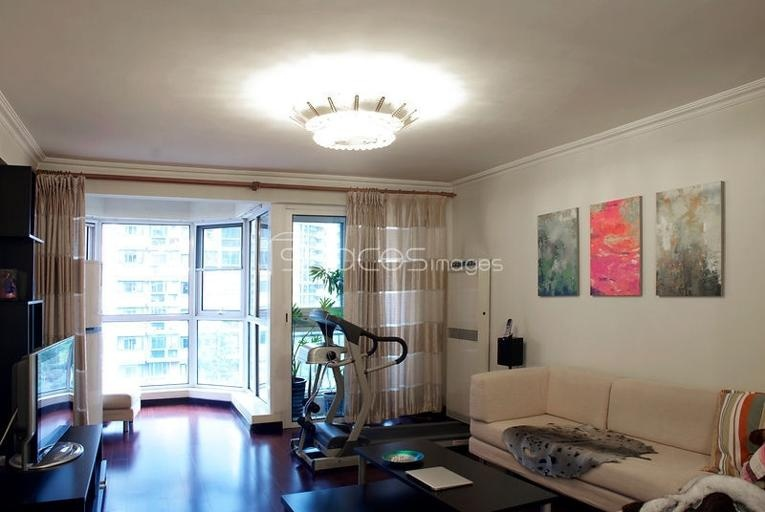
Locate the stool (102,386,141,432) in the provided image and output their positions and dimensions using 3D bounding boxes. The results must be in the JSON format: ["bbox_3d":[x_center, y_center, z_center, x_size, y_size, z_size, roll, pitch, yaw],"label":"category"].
[{"bbox_3d":[-3.056,1.700,6.085,0.462,0.351,0.699,-1,0,-25],"label":"stool"}]

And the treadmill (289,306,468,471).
[{"bbox_3d":[-0.416,1.348,5.976,1.958,1.598,1.268,1,-2,-28],"label":"treadmill"}]

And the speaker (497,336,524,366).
[{"bbox_3d":[1.447,1.071,5.920,0.319,0.444,0.316,3,0,-17],"label":"speaker"}]

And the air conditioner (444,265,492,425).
[{"bbox_3d":[1.084,1.048,6.512,0.202,1.752,0.715,3,-1,-23],"label":"air conditioner"}]
